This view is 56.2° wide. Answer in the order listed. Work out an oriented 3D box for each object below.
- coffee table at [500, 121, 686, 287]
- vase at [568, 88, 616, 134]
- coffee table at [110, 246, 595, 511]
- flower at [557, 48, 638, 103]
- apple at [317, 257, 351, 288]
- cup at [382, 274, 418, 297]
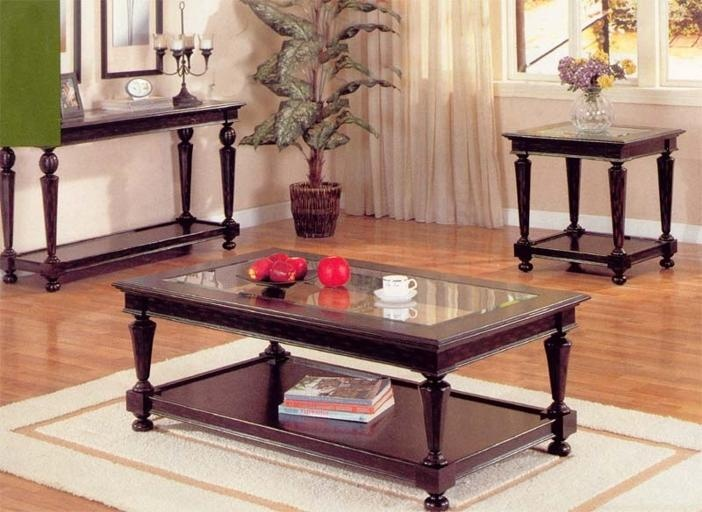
[{"bbox_3d":[1.733,-0.344,4.693,1.289,0.739,1.076,-5,19,13],"label":"coffee table"},{"bbox_3d":[1.633,-1.012,4.576,0.321,0.235,0.275,-9,14,-3],"label":"vase"},{"bbox_3d":[0.131,0.082,2.245,1.544,0.461,0.938,10,18,39],"label":"coffee table"},{"bbox_3d":[1.701,-1.247,4.617,0.587,0.312,0.477,-2,18,-6],"label":"flower"},{"bbox_3d":[-0.057,0.058,2.462,0.151,0.099,0.123,-3,4,-3],"label":"apple"},{"bbox_3d":[0.180,0.107,2.312,0.125,0.040,0.068,3,9,11],"label":"cup"}]
